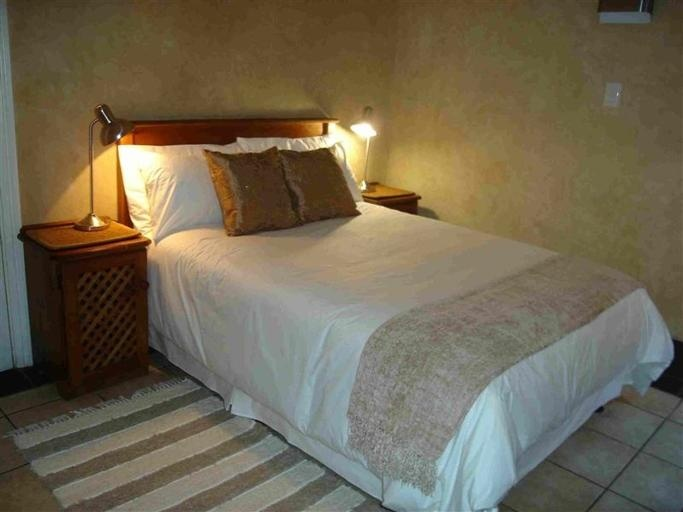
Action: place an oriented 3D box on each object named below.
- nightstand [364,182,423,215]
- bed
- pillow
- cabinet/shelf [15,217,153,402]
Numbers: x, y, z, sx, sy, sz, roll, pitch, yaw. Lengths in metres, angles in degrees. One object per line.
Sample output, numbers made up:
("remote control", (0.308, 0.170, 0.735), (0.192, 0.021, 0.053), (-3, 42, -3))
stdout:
("nightstand", (0.386, -0.549, 4.411), (0.343, 0.207, 0.336), (20, 24, 39))
("bed", (0.254, 0.294, 2.810), (0.575, 1.644, 1.784), (19, 30, 42))
("pillow", (-0.755, -0.504, 3.525), (1.231, 0.551, 0.435), (-18, 23, -39))
("cabinet/shelf", (-1.444, 0.254, 3.077), (0.639, 0.865, 0.513), (-17, 22, -36))
